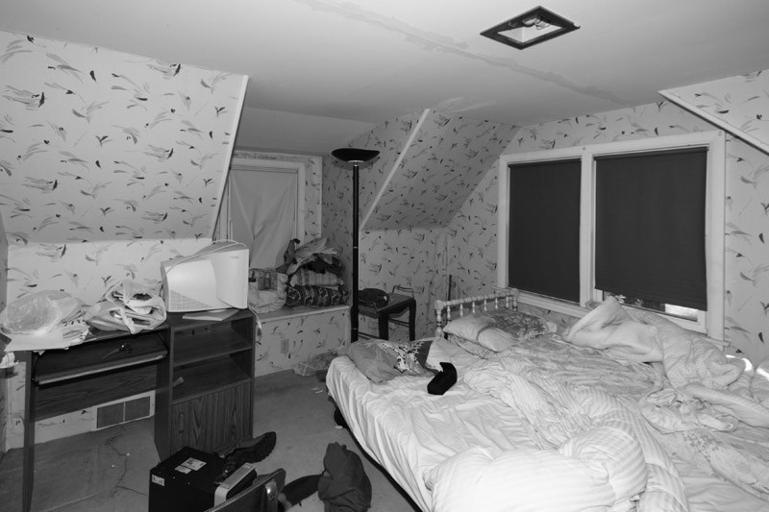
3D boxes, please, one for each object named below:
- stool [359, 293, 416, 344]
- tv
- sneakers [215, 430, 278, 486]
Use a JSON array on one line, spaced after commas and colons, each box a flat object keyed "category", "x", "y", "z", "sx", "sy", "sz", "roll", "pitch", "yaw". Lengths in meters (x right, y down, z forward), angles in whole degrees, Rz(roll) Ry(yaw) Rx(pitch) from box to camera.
[{"category": "stool", "x": 0.112, "y": 0.600, "z": 5.473, "sx": 0.606, "sy": 0.587, "sz": 0.594, "roll": 1, "pitch": 1, "yaw": -35}, {"category": "tv", "x": -1.468, "y": 0.182, "z": 4.114, "sx": 0.614, "sy": 0.546, "sz": 0.596, "roll": -1, "pitch": 3, "yaw": -28}, {"category": "sneakers", "x": -1.137, "y": 1.545, "z": 4.055, "sx": 0.178, "sy": 0.194, "sz": 0.521, "roll": 9, "pitch": 19, "yaw": 40}]
